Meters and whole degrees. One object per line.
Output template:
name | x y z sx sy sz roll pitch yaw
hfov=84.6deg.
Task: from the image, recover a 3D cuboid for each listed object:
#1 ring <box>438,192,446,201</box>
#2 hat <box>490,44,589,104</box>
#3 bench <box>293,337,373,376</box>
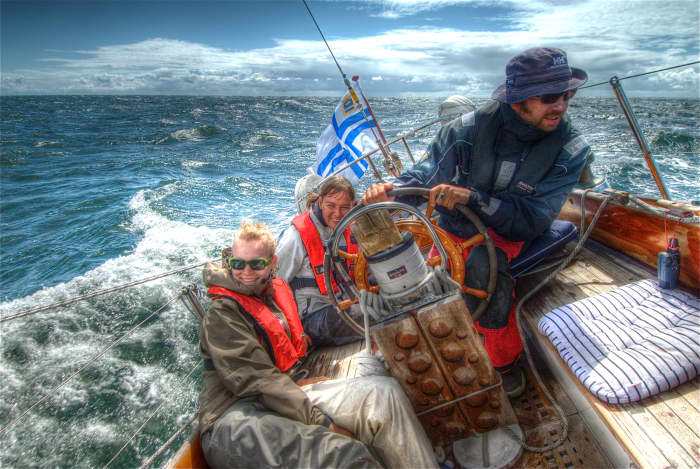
ring | 0.521 -0.220 2.224 0.041 0.058 0.034 -2 17 7
hat | 1.170 -1.015 2.432 0.528 0.302 0.284 4 30 22
bench | -0.144 0.938 2.845 0.498 0.114 0.318 0 44 26
